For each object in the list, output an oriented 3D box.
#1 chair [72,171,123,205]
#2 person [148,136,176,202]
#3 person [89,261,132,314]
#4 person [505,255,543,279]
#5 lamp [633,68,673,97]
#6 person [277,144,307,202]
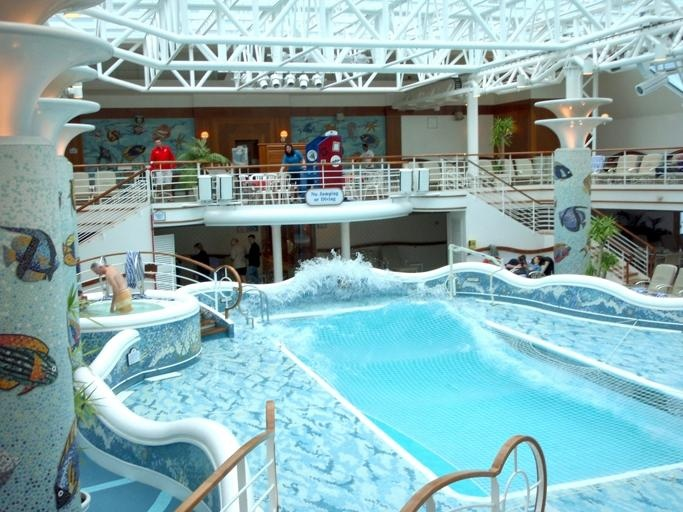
[{"bbox_3d":[-7.649,-2.157,15.058,1.090,0.988,2.698,-5,10,-27],"label":"chair"},{"bbox_3d":[-5.306,-2.548,14.383,0.664,1.765,1.562,-4,10,-19],"label":"person"},{"bbox_3d":[-3.676,0.516,7.870,0.319,0.687,0.834,-7,11,-35],"label":"person"},{"bbox_3d":[5.169,0.329,13.354,1.011,0.422,0.707,-1,13,-25],"label":"person"},{"bbox_3d":[8.679,-4.902,13.490,0.693,0.669,1.047,6,11,33],"label":"lamp"},{"bbox_3d":[-1.508,-2.666,15.415,0.860,1.818,1.007,-10,1,-3],"label":"person"}]
